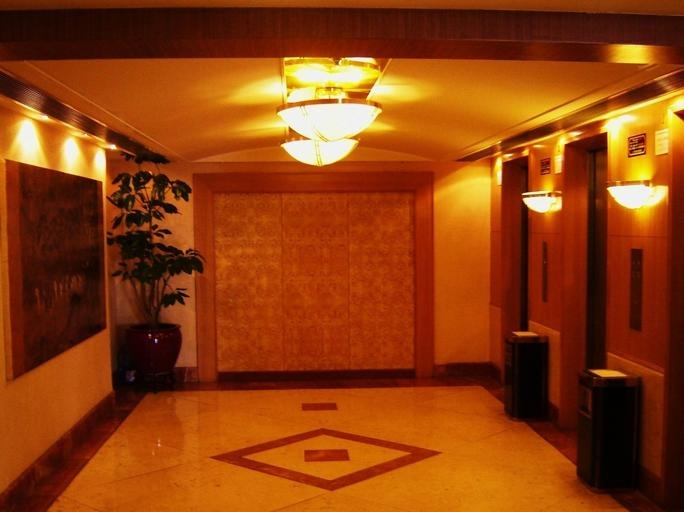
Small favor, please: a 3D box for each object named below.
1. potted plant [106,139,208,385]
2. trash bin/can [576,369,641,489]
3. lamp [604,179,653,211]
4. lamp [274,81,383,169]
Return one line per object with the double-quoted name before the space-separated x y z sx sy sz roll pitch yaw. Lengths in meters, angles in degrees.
"potted plant" -2.746 0.230 8.060 1.213 3.523 1.449 -1 0 -23
"trash bin/can" 2.432 1.593 5.034 0.522 0.858 0.239 -1 0 28
"lamp" 2.574 -0.539 4.896 0.334 0.193 0.301 -1 0 -27
"lamp" -0.177 -1.338 5.582 0.719 0.383 1.489 1 2 -3
